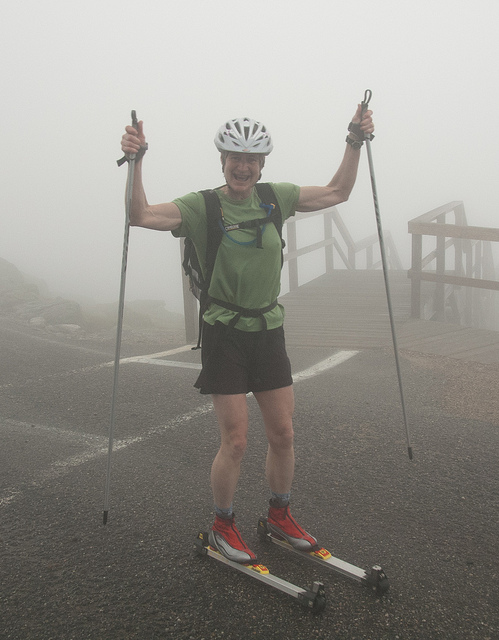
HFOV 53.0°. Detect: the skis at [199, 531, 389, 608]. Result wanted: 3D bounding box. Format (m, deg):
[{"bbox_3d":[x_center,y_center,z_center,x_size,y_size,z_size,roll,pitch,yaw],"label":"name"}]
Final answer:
[{"bbox_3d":[0.266,0.964,1.956,0.250,0.077,0.423,-8,14,-42],"label":"skis"}]
